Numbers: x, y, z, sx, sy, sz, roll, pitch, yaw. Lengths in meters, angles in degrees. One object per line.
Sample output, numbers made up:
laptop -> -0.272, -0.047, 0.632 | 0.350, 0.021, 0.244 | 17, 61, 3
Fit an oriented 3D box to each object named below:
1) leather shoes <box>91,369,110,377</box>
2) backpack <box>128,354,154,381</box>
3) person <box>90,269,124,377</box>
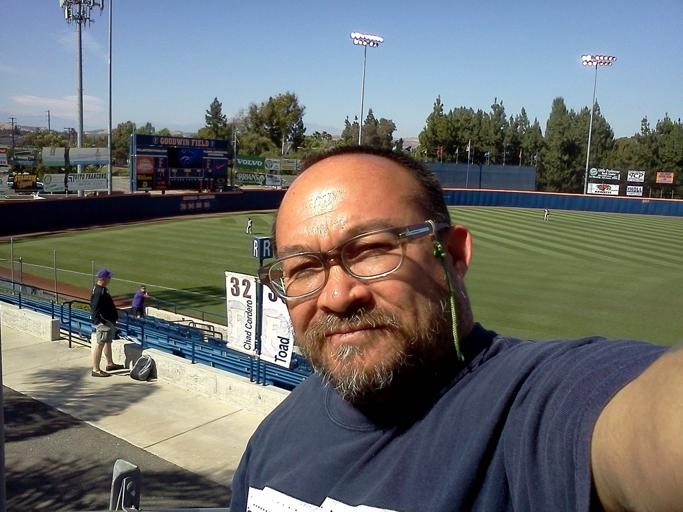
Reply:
leather shoes -> -4.345, 2.083, 10.955 | 0.247, 0.118, 0.143 | -1, 4, 1
backpack -> -3.569, 1.985, 10.934 | 0.269, 0.408, 0.187 | 11, -15, 25
person -> -4.285, 1.201, 11.086 | 0.509, 1.891, 0.677 | -2, 8, -24
